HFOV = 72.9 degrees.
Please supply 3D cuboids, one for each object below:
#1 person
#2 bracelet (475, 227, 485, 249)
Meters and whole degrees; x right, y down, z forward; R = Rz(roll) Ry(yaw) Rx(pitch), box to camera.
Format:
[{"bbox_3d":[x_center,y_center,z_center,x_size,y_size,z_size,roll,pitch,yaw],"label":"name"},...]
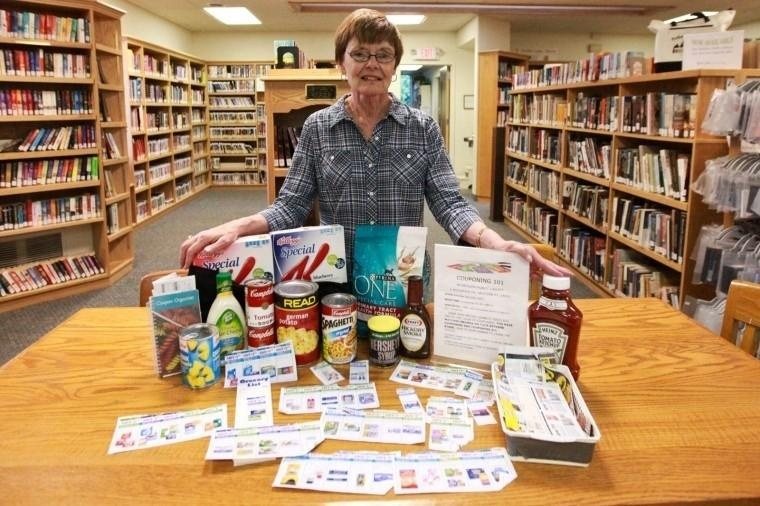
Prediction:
[{"bbox_3d":[-0.114,-0.421,1.912,0.988,0.954,0.742,-2,18,-4],"label":"person"},{"bbox_3d":[0.363,-0.056,1.861,0.038,0.069,0.093,6,19,19],"label":"bracelet"}]
